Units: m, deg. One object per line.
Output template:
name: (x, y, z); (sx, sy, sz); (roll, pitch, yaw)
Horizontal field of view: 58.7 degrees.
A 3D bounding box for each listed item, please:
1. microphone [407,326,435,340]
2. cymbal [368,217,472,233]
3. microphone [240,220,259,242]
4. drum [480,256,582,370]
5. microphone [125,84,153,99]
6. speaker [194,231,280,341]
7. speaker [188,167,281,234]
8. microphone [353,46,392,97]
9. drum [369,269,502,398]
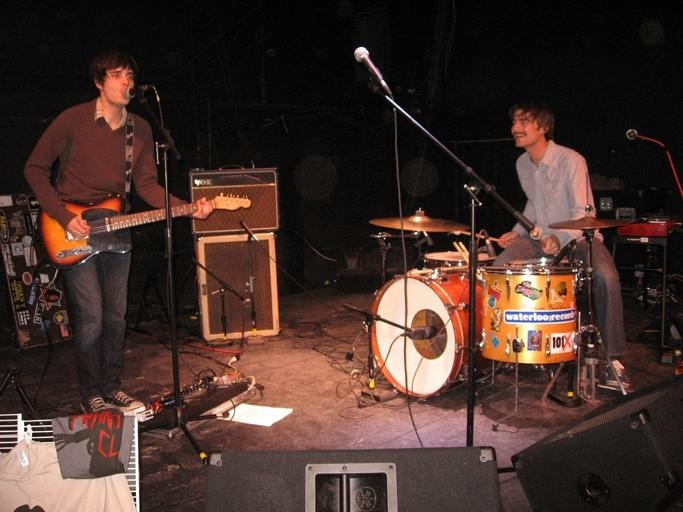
microphone: (0.548, 0.526, 4.127); (0.176, 0.081, 0.109); (-3, 0, -45)
cymbal: (0.565, -0.238, 4.607); (0.337, 0.076, 0.320); (-7, 11, -44)
microphone: (-0.882, -0.231, 5.703); (0.040, 0.240, 0.040); (-16, -30, -50)
drum: (1.250, 0.381, 4.115); (0.650, 0.606, 0.652); (0, -1, 11)
microphone: (-1.186, -0.939, 3.520); (0.078, 0.087, 0.229); (-3, 0, -42)
speaker: (-1.009, 0.276, 5.753); (0.939, 1.269, 0.728); (-4, 3, -23)
speaker: (-1.031, -0.545, 5.860); (1.096, 0.871, 0.549); (-3, 6, -20)
microphone: (0.167, -0.968, 3.170); (0.166, 0.240, 0.225); (-3, 0, 6)
drum: (0.650, 0.525, 4.166); (0.487, 0.692, 0.685); (-11, 27, -43)
